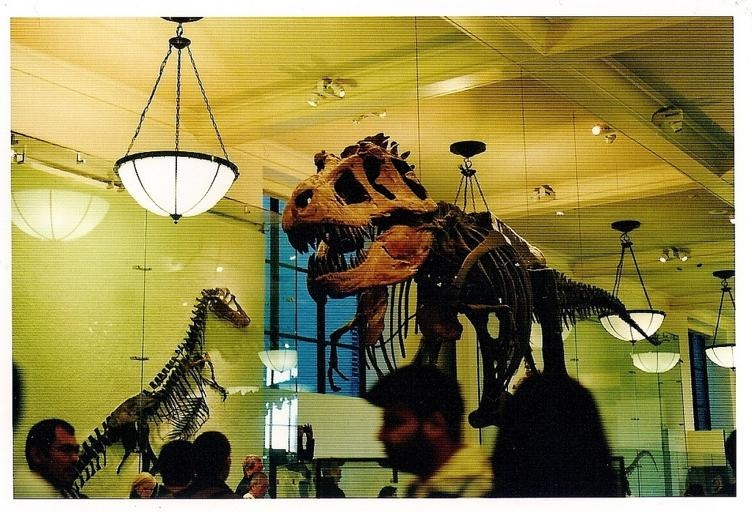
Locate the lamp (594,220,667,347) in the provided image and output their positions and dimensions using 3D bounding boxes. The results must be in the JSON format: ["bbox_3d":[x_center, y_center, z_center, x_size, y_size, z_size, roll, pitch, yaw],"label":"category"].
[{"bbox_3d":[1.917,0.201,9.737,0.480,0.947,0.246,-4,-16,6],"label":"lamp"}]

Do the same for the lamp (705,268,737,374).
[{"bbox_3d":[2.593,0.493,9.713,0.262,0.759,0.207,-3,-16,2],"label":"lamp"}]

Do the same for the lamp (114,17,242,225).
[{"bbox_3d":[-1.453,-1.044,9.370,0.850,1.680,0.899,0,-16,-8],"label":"lamp"}]

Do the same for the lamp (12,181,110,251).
[{"bbox_3d":[-2.381,-0.329,9.643,0.634,0.174,0.521,-2,-15,-4],"label":"lamp"}]

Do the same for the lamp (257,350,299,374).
[{"bbox_3d":[-0.742,0.807,9.701,0.262,0.083,0.226,-4,-13,22],"label":"lamp"}]
